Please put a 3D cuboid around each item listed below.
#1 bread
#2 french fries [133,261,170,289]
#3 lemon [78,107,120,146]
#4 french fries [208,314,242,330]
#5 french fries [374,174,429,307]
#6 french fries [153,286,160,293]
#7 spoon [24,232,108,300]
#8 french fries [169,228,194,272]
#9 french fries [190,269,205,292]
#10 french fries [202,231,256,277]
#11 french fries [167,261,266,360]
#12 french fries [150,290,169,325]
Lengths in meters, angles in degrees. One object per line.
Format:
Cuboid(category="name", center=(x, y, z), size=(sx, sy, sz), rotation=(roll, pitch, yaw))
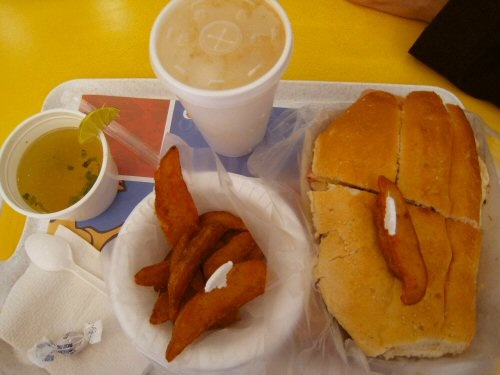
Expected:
Cuboid(category="bread", center=(0.467, 0.107, 1.605), size=(0.526, 0.236, 0.767), rotation=(5, 84, 5))
Cuboid(category="french fries", center=(-0.302, 0.273, 1.535), size=(0.097, 0.073, 0.105), rotation=(-12, 21, -36))
Cuboid(category="lemon", center=(-0.536, -0.232, 1.725), size=(0.066, 0.091, 0.187), rotation=(29, 63, 16))
Cuboid(category="french fries", center=(-0.077, 0.425, 1.556), size=(0.063, 0.062, 0.016), rotation=(3, 58, -51))
Cuboid(category="french fries", center=(0.433, 0.155, 1.450), size=(0.094, 0.177, 0.334), rotation=(-17, 61, -11))
Cuboid(category="french fries", center=(-0.302, 0.328, 1.590), size=(0.016, 0.013, 0.016), rotation=(-9, 32, -16))
Cuboid(category="spoon", center=(-0.653, 0.264, 1.762), size=(0.359, 0.069, 0.130), rotation=(23, 61, 12))
Cuboid(category="french fries", center=(-0.214, 0.194, 1.545), size=(0.046, 0.112, 0.086), rotation=(-8, 30, -7))
Cuboid(category="french fries", center=(-0.173, 0.299, 1.583), size=(0.040, 0.016, 0.069), rotation=(7, 72, 8))
Cuboid(category="french fries", center=(-0.058, 0.205, 1.567), size=(0.117, 0.136, 0.183), rotation=(12, 23, 36))
Cuboid(category="french fries", center=(-0.109, 0.352, 1.493), size=(0.396, 0.079, 0.107), rotation=(-32, 64, -19))
Cuboid(category="french fries", center=(-0.276, 0.372, 1.538), size=(0.058, 0.060, 0.117), rotation=(0, 59, -1))
